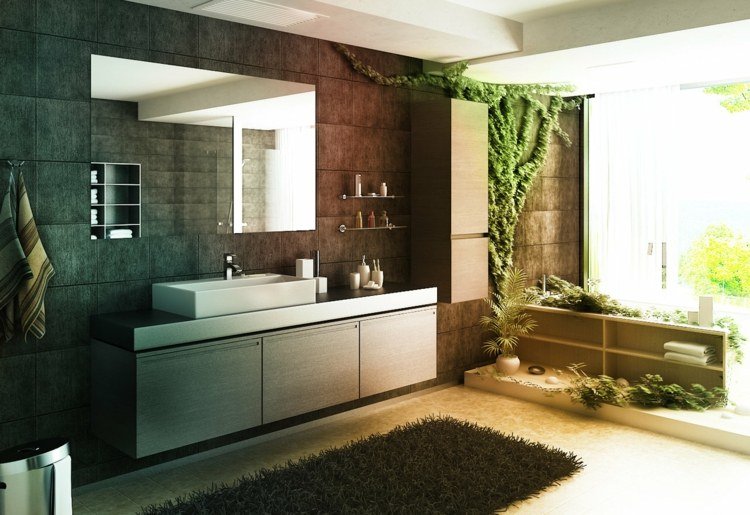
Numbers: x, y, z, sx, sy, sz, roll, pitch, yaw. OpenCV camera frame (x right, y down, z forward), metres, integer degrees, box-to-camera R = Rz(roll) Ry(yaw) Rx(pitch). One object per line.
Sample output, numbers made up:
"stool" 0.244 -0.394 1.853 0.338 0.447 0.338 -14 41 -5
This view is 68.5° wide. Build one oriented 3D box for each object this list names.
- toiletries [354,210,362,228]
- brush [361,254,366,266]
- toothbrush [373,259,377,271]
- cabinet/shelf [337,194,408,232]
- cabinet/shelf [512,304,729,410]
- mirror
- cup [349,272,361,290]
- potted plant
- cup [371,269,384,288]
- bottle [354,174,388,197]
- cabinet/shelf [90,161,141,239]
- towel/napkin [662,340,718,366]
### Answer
"toiletries" -0.152 -0.378 5.447 0.074 0.170 0.126 0 9 -2
"brush" -0.108 0.025 5.479 0.047 0.094 0.149 0 9 -3
"toothbrush" 0.006 0.077 5.553 0.031 0.117 0.023 13 -27 -39
"cabinet/shelf" -0.041 -0.437 5.550 0.834 0.283 0.191 -5 15 -40
"cabinet/shelf" 2.551 1.037 6.015 2.134 0.866 0.298 6 11 37
"mirror" -1.464 -0.920 4.488 1.778 1.187 0.035 1 3 -41
"cup" -0.186 0.221 5.238 0.105 0.137 0.201 0 9 -1
"potted plant" 1.583 0.815 6.476 0.772 1.165 0.674 -5 8 -7
"cup" 0.030 0.202 5.256 0.100 0.154 0.127 -1 9 -5
"bottle" 0.017 -0.694 5.456 0.495 0.303 0.149 -4 6 -44
"cabinet/shelf" -1.974 -0.435 4.209 0.358 0.566 0.115 -3 10 -15
"towel/napkin" 3.107 0.939 5.442 0.433 0.185 0.215 8 12 39
